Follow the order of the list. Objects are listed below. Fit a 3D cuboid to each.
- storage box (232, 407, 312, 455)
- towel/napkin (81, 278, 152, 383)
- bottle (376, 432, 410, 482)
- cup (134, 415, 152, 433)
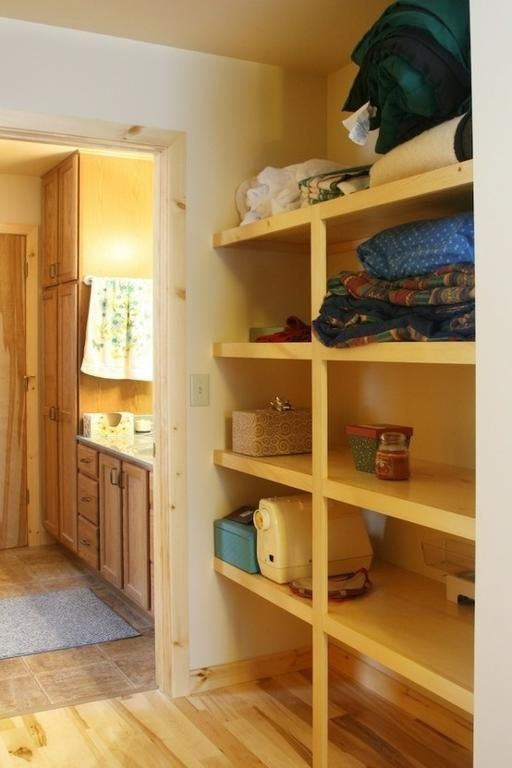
[{"bbox_3d":[0.062,0.163,2.180,0.297,0.150,0.150,1,-2,-21],"label":"storage box"},{"bbox_3d":[-0.848,-0.332,3.695,0.623,0.698,0.097,1,3,-12],"label":"towel/napkin"},{"bbox_3d":[0.358,0.196,1.637,0.106,0.137,0.099,-2,-3,0],"label":"bottle"},{"bbox_3d":[-0.696,0.250,3.852,0.100,0.094,0.135,3,4,38],"label":"cup"}]
